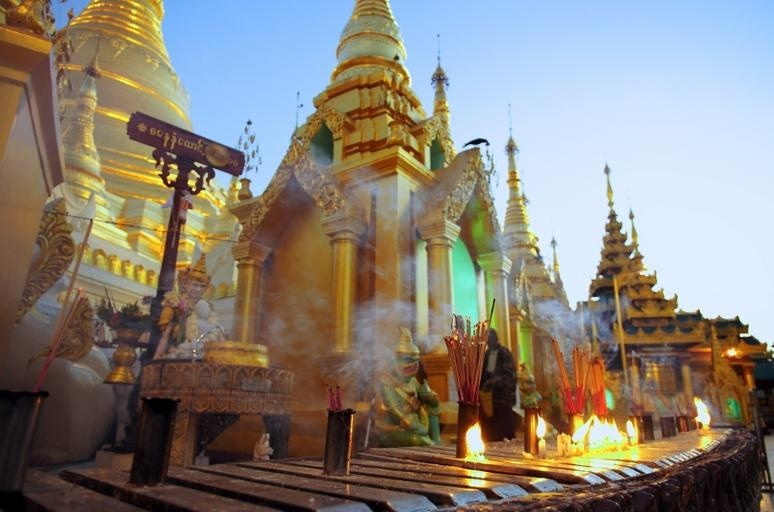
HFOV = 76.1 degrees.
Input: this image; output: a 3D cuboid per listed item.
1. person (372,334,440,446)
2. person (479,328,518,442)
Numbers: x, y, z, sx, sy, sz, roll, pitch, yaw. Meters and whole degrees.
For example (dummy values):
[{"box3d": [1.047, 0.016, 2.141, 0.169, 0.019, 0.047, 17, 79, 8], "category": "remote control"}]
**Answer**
[{"box3d": [0.228, 1.711, 6.526, 0.896, 1.549, 0.403, 0, -22, 3], "category": "person"}, {"box3d": [1.698, 1.984, 7.577, 0.518, 1.634, 0.409, 10, -24, -20], "category": "person"}]
